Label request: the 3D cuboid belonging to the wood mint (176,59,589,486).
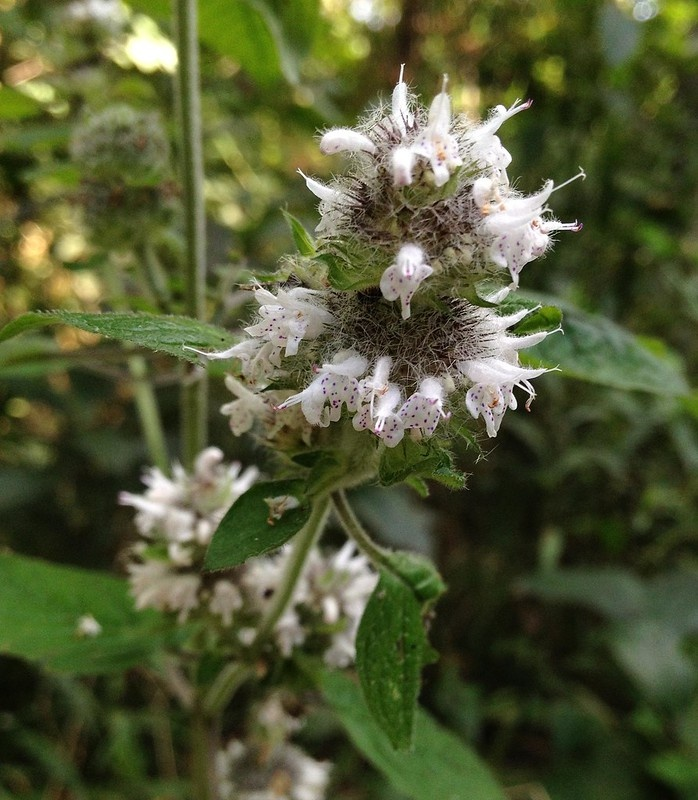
[{"bbox_3d":[0.099,-0.164,1.310,0.438,0.596,0.494,22,45,24],"label":"wood mint"}]
